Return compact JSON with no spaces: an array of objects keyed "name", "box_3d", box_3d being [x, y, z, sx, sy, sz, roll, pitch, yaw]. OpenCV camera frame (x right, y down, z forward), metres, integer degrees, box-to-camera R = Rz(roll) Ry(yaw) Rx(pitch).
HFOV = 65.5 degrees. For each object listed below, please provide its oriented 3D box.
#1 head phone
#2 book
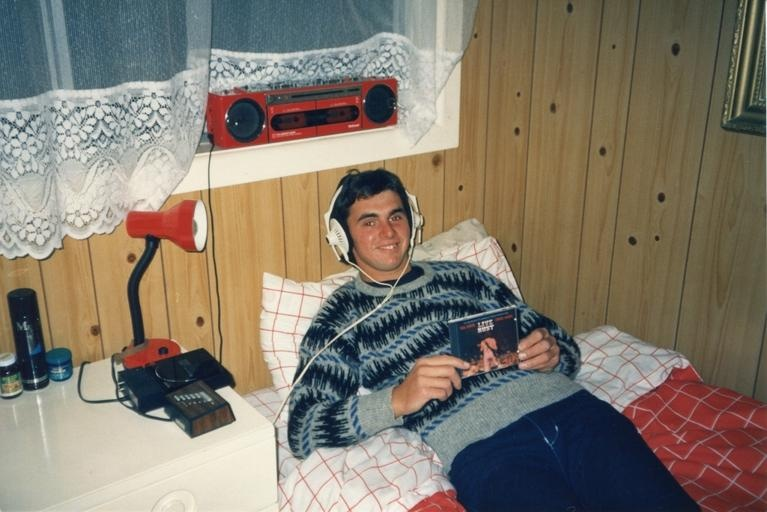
[{"name":"head phone","box_3d":[-0.077,-0.162,2.401,0.331,0.400,0.159,-6,7,2]},{"name":"book","box_3d":[0.351,0.312,2.073,0.216,0.200,0.029,-8,9,-16]}]
